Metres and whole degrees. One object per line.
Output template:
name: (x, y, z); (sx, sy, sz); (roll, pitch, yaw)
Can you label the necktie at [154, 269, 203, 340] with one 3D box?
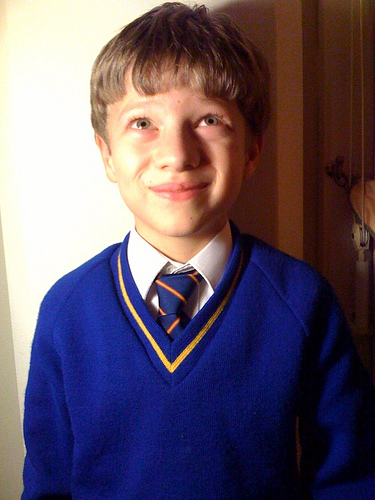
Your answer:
necktie: (-0.015, 0.067, 0.709); (0.063, 0.080, 0.064); (-2, 29, -12)
